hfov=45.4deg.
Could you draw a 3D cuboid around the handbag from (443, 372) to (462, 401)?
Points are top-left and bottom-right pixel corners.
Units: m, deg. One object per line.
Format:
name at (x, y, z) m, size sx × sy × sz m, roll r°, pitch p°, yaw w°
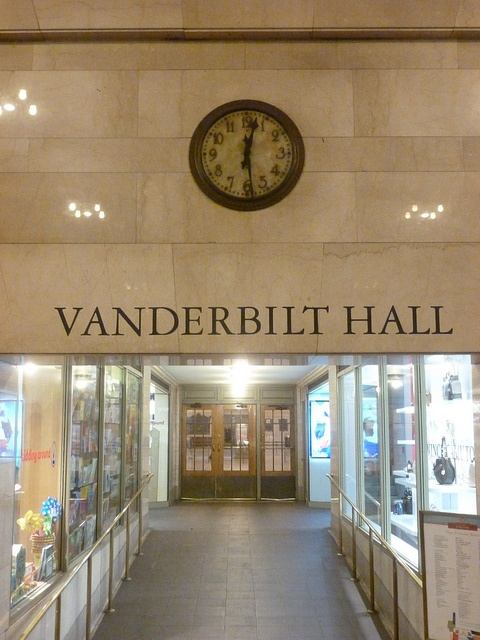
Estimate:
handbag at (1.494, 0.465, 4.019) m, size 0.043 × 0.210 × 0.170 m, roll 1°, pitch -8°, yaw 3°
